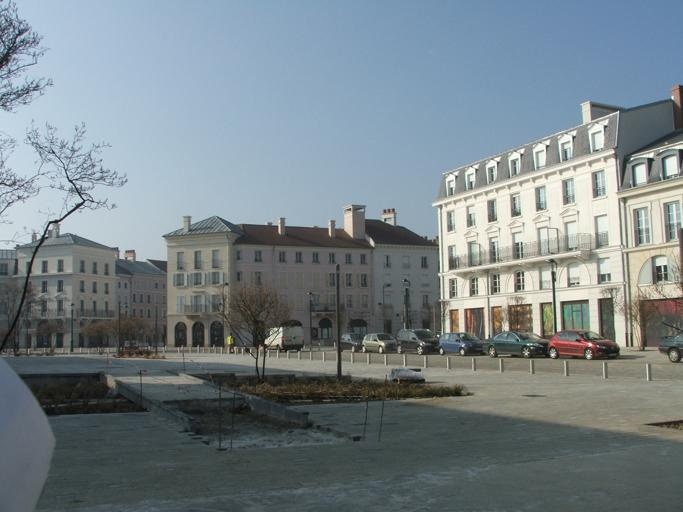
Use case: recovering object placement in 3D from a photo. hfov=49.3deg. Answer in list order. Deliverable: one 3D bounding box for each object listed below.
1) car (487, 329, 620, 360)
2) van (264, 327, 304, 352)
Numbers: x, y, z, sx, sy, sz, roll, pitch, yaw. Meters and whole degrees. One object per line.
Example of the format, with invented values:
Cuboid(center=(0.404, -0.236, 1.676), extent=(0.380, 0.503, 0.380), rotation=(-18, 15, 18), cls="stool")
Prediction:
Cuboid(center=(10.636, 4.521, 38.125), extent=(1.224, 1.853, 6.746), rotation=(8, -15, -37), cls="car")
Cuboid(center=(-4.320, 6.163, 57.048), extent=(2.331, 1.945, 3.027), rotation=(-2, -12, 3), cls="van")
